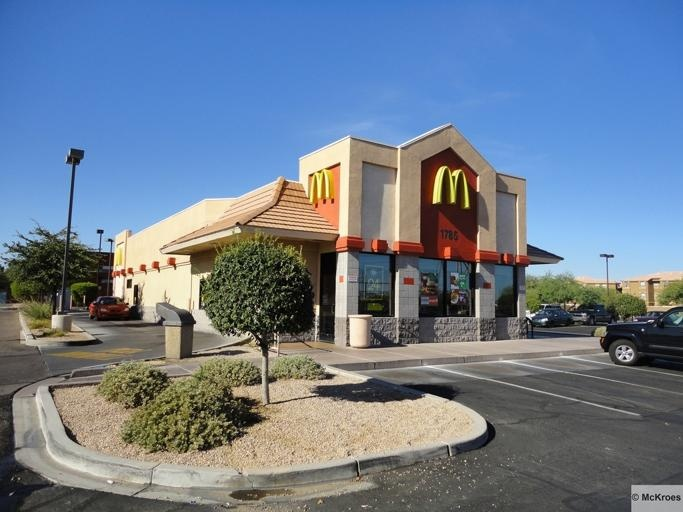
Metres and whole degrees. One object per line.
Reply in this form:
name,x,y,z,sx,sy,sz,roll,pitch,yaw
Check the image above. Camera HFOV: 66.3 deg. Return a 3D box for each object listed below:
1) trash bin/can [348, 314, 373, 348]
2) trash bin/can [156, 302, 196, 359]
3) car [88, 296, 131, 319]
trash bin/can,0.676,2.648,18.396,0.951,1.152,0.815,-1,-3,9
trash bin/can,-4.566,2.079,14.478,0.895,1.463,0.595,-4,-4,34
car,-14.299,3.196,32.139,1.897,1.414,2.308,2,-6,-41
